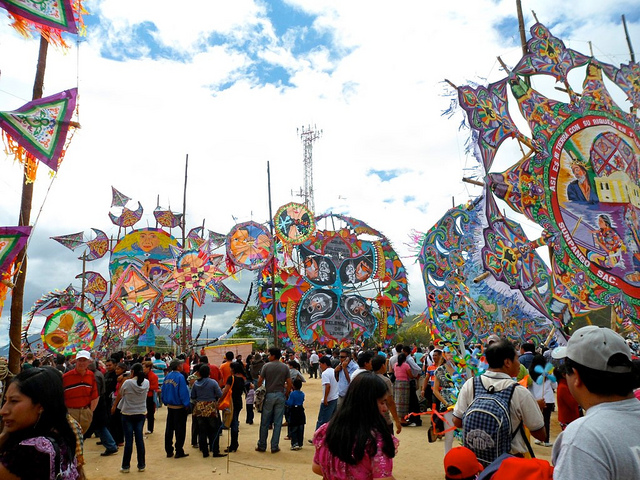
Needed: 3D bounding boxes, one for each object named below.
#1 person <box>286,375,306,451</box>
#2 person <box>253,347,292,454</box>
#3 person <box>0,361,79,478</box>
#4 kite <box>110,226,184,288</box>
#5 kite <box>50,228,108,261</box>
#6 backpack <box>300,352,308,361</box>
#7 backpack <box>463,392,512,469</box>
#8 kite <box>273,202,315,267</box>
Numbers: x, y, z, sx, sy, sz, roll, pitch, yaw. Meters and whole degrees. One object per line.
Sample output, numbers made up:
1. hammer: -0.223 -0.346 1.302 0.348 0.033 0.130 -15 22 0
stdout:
1. person: -0.524 3.712 10.543 0.623 1.426 0.626 3 -11 -18
2. person: -0.971 3.365 10.395 0.658 2.129 0.582 3 -14 -10
3. person: -2.211 1.495 3.896 0.548 0.927 0.487 3 -11 -25
4. kite: -9.697 1.094 27.383 3.520 3.659 0.036 -4 -6 -4
5. kite: -15.480 0.119 31.275 3.595 2.314 0.484 9 20 -38
6. backpack: -0.876 6.928 28.970 0.466 0.490 0.506 4 -23 6
7. backpack: 1.677 1.840 4.893 0.478 0.718 0.400 6 18 39
8. kite: -1.725 -0.290 27.646 2.260 3.340 1.276 7 -12 -20
